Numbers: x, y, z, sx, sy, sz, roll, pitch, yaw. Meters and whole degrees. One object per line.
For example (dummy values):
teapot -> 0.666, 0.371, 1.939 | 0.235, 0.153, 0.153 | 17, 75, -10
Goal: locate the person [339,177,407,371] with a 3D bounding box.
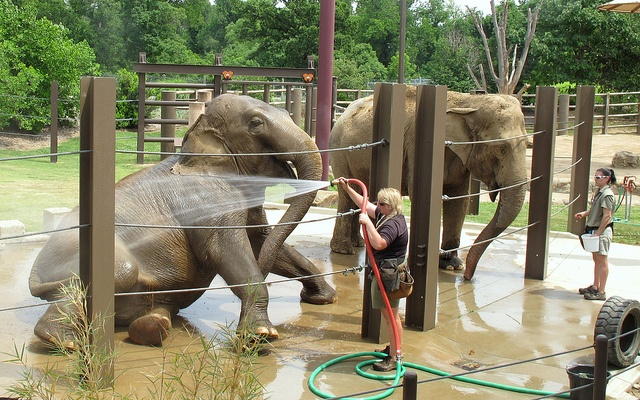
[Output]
person -> 0.427, 0.586, 4.979 | 0.575, 1.500, 0.569 | 2, 7, 3

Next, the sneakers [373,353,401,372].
sneakers -> 0.533, 1.315, 4.833 | 0.196, 0.079, 0.092 | 4, -4, -22

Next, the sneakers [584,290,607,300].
sneakers -> 2.849, 0.982, 6.265 | 0.250, 0.104, 0.087 | 2, -2, 4

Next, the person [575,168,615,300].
person -> 2.886, 0.352, 6.288 | 0.263, 1.342, 0.319 | 5, 7, 23

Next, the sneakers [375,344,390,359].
sneakers -> 0.529, 1.238, 4.974 | 0.052, 0.061, 0.163 | 2, 1, -27

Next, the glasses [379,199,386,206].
glasses -> 0.498, 0.020, 4.801 | 0.033, 0.053, 0.076 | -4, 9, -39

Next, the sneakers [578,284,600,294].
sneakers -> 2.817, 0.932, 6.321 | 0.188, 0.074, 0.069 | 0, 2, 23
